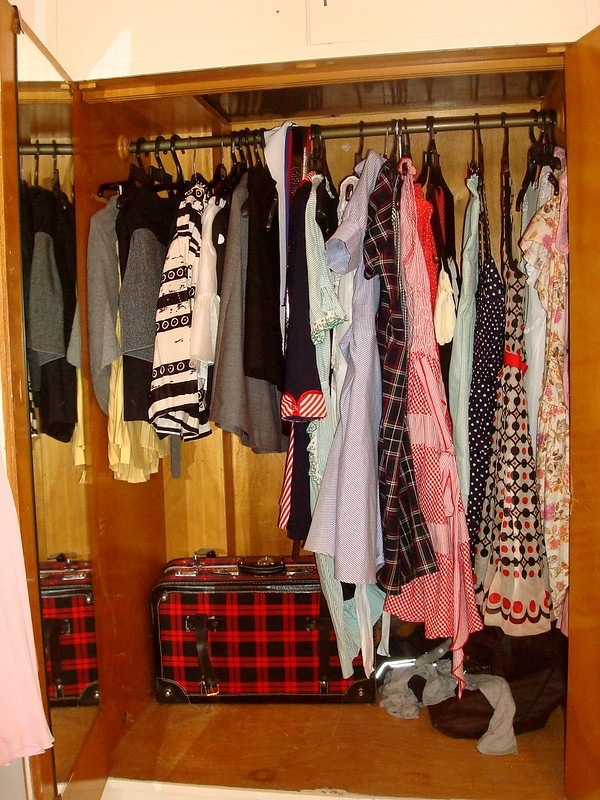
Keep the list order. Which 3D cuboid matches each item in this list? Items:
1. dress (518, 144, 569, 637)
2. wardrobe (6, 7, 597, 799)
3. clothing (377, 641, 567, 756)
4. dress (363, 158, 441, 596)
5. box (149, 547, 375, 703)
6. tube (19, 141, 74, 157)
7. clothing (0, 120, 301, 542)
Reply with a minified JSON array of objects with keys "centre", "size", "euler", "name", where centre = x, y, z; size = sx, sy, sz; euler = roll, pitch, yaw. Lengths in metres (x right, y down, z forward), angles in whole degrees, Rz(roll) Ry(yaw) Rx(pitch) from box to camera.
[{"centre":[0.562,-0.018,1.706],"size":[0.108,1.023,0.171],"euler":[1,11,18],"name":"dress"},{"centre":[0.020,0.015,1.701],"size":[1.354,1.687,0.863],"euler":[-3,-4,2],"name":"wardrobe"},{"centre":[0.448,0.797,1.978],"size":[0.318,0.163,0.257],"euler":[3,-26,3],"name":"clothing"},{"centre":[0.211,-0.051,1.600],"size":[0.120,0.890,0.203],"euler":[-3,11,0],"name":"dress"},{"centre":[-0.101,0.595,2.291],"size":[0.646,0.468,0.432],"euler":[1,28,1],"name":"box"},{"centre":[-0.506,-0.499,1.489],"size":[0.018,0.022,0.112],"euler":[-2,9,17],"name":"tube"},{"centre":[-0.282,-0.030,1.944],"size":[0.458,1.300,0.902],"euler":[-3,12,-1],"name":"clothing"}]
